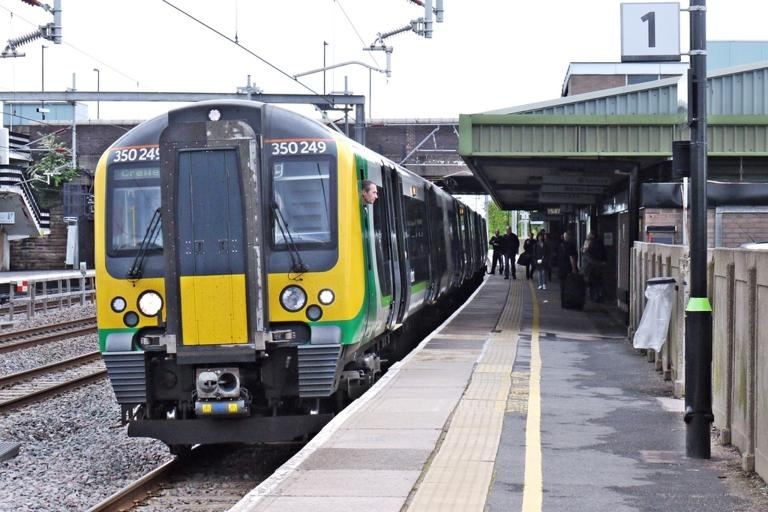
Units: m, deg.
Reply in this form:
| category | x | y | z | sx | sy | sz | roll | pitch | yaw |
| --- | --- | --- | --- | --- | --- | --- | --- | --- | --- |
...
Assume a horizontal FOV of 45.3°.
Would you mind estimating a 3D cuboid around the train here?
| category | x | y | z | sx | sy | sz | roll | pitch | yaw |
| --- | --- | --- | --- | --- | --- | --- | --- | --- | --- |
| train | -1.466 | 0.262 | 13.377 | 2.233 | 3.105 | 11.848 | -1 | 1 | 9 |

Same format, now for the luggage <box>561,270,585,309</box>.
| category | x | y | z | sx | sy | sz | roll | pitch | yaw |
| --- | --- | --- | --- | --- | --- | --- | --- | --- | --- |
| luggage | 4.970 | 0.890 | 24.173 | 0.554 | 0.992 | 0.746 | -1 | 4 | 10 |

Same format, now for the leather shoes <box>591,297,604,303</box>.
| category | x | y | z | sx | sy | sz | roll | pitch | yaw |
| --- | --- | --- | --- | --- | --- | --- | --- | --- | --- |
| leather shoes | 5.978 | 1.201 | 25.735 | 0.243 | 0.224 | 0.479 | -1 | 4 | 16 |
